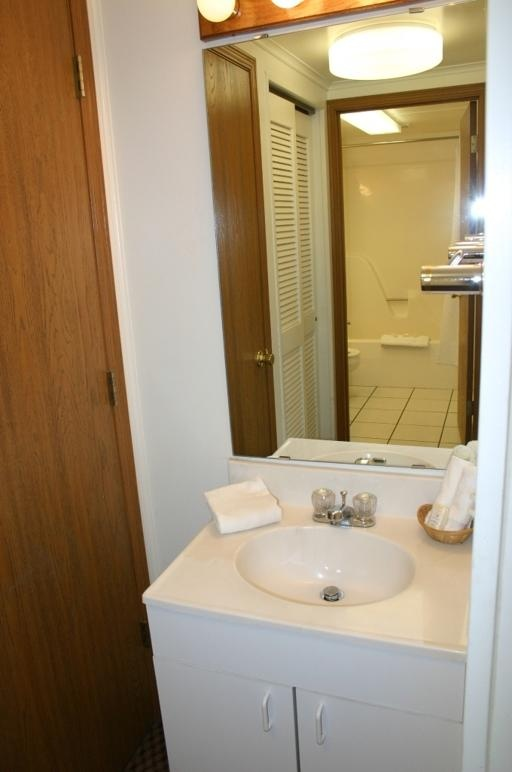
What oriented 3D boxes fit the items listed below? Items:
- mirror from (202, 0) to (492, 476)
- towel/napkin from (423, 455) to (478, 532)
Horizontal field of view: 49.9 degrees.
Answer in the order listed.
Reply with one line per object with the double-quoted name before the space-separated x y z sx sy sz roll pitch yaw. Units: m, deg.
"mirror" 0.402 -0.622 1.783 0.663 1.672 0.759 8 26 24
"towel/napkin" 0.408 0.229 1.125 0.049 0.219 0.144 5 -5 -7
